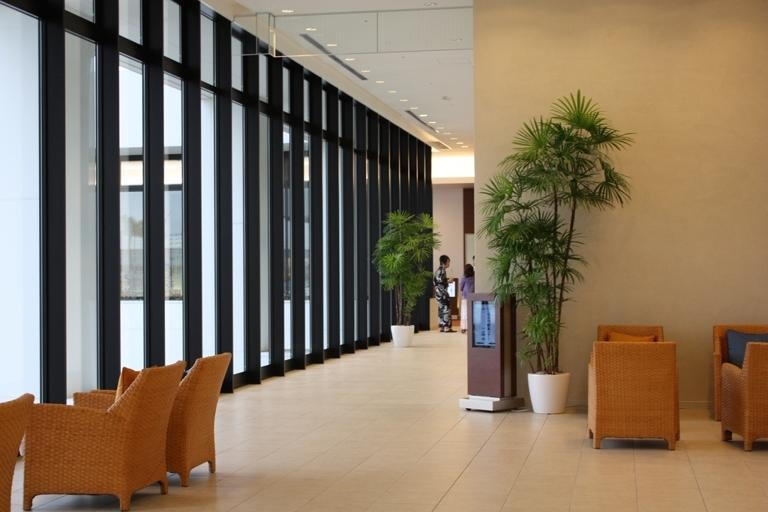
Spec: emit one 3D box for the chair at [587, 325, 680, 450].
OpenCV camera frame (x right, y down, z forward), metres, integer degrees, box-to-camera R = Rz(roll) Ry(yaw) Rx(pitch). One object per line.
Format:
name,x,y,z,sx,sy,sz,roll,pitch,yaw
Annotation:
chair,2.819,1.510,7.797,0.965,0.936,1.232,-3,-2,21

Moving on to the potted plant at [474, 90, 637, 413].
potted plant,2.239,-0.202,9.127,1.829,2.694,0.887,-2,-1,-2

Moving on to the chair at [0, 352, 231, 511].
chair,-2.248,1.558,6.087,1.723,1.220,0.666,-1,-2,-29
